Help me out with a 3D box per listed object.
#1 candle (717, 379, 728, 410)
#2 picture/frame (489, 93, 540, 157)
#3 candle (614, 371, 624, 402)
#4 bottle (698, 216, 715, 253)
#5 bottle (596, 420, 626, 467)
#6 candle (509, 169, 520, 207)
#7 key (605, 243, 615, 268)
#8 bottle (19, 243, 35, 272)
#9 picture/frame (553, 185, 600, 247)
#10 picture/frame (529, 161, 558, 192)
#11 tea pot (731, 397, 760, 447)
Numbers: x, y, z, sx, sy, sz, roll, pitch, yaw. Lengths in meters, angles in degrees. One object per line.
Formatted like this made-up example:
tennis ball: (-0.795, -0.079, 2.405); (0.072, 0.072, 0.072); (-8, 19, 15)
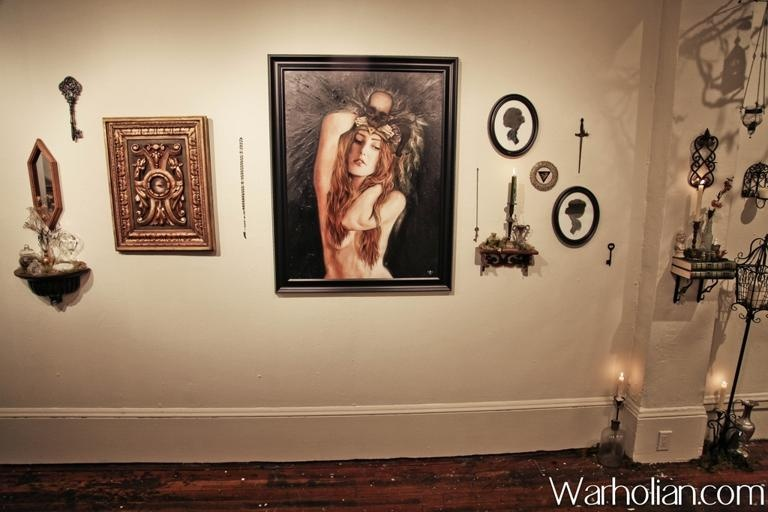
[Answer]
candle: (2.870, 1.164, 5.260); (0.084, 0.218, 0.046); (-9, 13, -43)
picture/frame: (1.045, -1.082, 5.007); (0.478, 0.535, 0.052); (0, 6, -4)
candle: (1.949, 1.087, 5.139); (0.076, 0.279, 0.266); (4, 10, 22)
bottle: (2.572, -0.174, 4.948); (0.104, 0.256, 0.091); (1, 10, 4)
bottle: (1.898, 1.600, 5.183); (0.199, 0.272, 0.198); (0, 10, 0)
candle: (1.051, -0.550, 5.020); (0.068, 0.291, 0.107); (1, 10, 6)
key: (1.876, -0.009, 5.149); (0.078, 0.194, 0.017); (-2, 10, -12)
bottle: (-2.861, 0.016, 4.975); (0.185, 0.194, 0.130); (5, 11, 29)
picture/frame: (1.566, -0.350, 5.094); (0.461, 0.550, 0.062); (-2, 9, -10)
picture/frame: (1.313, -0.643, 4.958); (0.206, 0.216, 0.044); (-1, 7, -7)
tea pot: (3.037, 1.399, 5.223); (0.159, 0.435, 0.365); (6, 11, 33)
